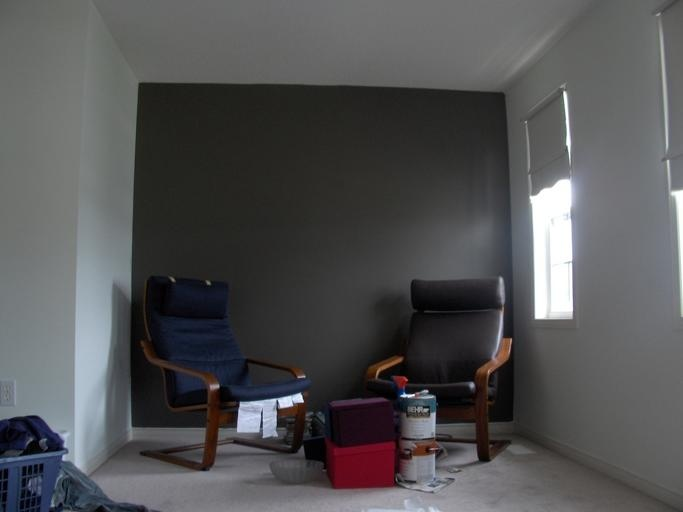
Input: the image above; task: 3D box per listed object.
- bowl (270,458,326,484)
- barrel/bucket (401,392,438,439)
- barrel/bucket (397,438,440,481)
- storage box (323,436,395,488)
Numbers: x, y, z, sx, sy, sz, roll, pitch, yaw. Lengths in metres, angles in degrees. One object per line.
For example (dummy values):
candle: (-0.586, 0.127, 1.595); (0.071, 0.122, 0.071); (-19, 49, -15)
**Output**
bowl: (-0.277, 1.341, 3.453); (0.332, 0.118, 0.247); (0, 0, -3)
barrel/bucket: (0.464, 0.982, 3.493); (0.220, 0.282, 0.234); (1, -2, 0)
barrel/bucket: (0.465, 1.249, 3.350); (0.204, 0.250, 0.250); (2, -5, -7)
storage box: (0.134, 1.264, 3.313); (0.268, 0.203, 0.293); (1, -8, -11)
